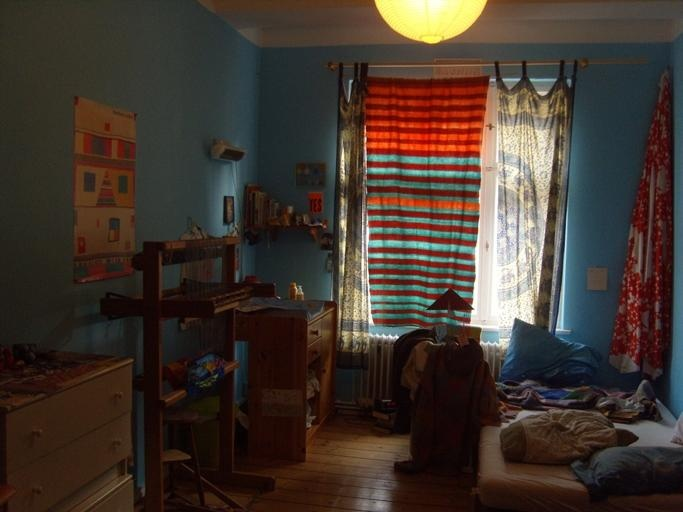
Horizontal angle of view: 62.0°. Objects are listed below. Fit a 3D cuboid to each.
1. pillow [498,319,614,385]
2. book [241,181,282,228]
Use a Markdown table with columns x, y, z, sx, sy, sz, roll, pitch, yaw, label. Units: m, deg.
| x | y | z | sx | sy | sz | roll | pitch | yaw | label |
| --- | --- | --- | --- | --- | --- | --- | --- | --- | --- |
| 1.636 | 0.844 | 4.966 | 0.888 | 0.293 | 0.836 | -15 | -13 | 38 | pillow |
| -0.697 | -0.453 | 5.139 | 0.317 | 0.385 | 0.348 | 0 | 9 | 1 | book |
